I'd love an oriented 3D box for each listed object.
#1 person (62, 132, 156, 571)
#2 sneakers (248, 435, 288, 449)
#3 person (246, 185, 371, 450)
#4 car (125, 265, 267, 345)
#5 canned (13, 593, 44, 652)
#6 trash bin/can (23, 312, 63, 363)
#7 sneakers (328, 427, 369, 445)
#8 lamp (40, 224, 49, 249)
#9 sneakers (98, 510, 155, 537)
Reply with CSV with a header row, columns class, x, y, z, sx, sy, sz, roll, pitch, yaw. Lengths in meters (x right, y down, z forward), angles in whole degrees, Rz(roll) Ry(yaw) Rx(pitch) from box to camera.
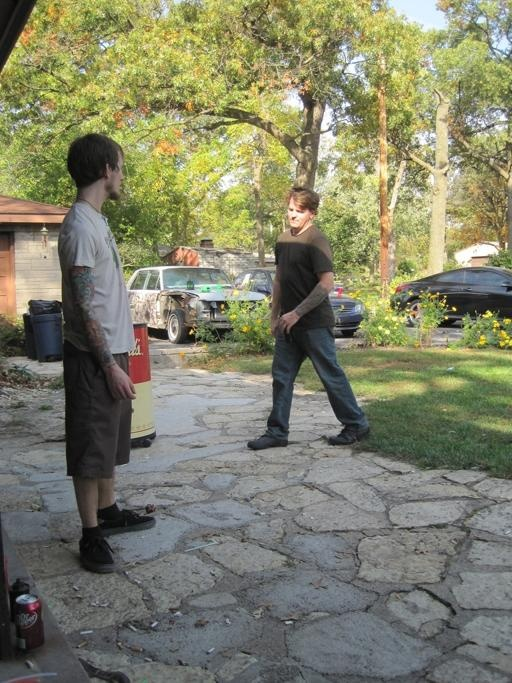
class,x,y,z,sx,sy,sz,roll,pitch,yaw
person,-0.695,0.021,2.797,0.334,1.852,0.504,2,3,-10
sneakers,0.088,0.735,4.704,0.305,0.100,0.101,2,-2,-15
person,0.424,-0.160,4.669,0.868,1.913,0.614,2,3,8
car,-1.273,-0.843,12.986,1.669,0.921,2.904,-3,5,-29
canned,-0.670,0.824,1.889,0.088,0.144,0.150,1,3,-19
trash bin/can,-1.767,-0.029,5.297,0.307,0.404,0.523,1,3,-19
sneakers,0.682,0.693,4.736,0.333,0.126,0.110,-2,4,-12
lamp,-5.159,-2.580,15.523,0.180,0.576,0.665,1,3,-19
sneakers,-0.634,0.885,3.142,0.285,0.093,0.096,-2,3,-20
